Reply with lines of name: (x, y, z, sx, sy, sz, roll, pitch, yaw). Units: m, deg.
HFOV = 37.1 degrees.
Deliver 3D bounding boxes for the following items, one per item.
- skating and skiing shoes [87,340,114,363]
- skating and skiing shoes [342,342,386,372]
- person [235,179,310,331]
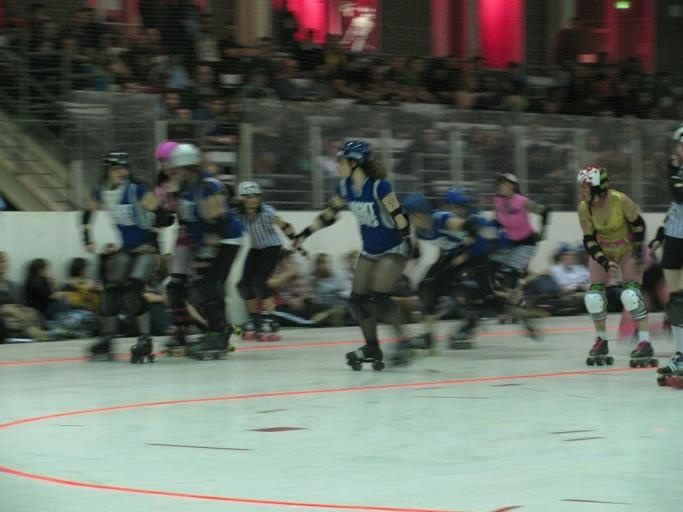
skating and skiing shoes: (-2.261, 0.900, 9.566, 0.296, 0.191, 0.178, 5, -5, -11)
skating and skiing shoes: (0.212, 0.870, 8.609, 0.408, 0.200, 0.179, 1, -5, -1)
person: (-0.730, 0.102, 11.158, 0.860, 1.616, 0.599, -3, 7, -10)
